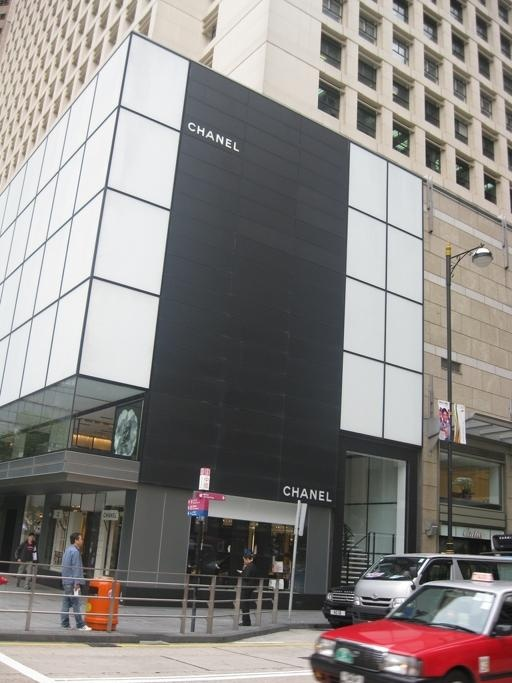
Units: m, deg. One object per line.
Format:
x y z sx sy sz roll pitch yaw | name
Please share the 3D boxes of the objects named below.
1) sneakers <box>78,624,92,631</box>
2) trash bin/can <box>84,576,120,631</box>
-2.819 4.716 9.758 0.183 0.082 0.080 -1 23 40 | sneakers
-2.702 4.620 10.378 0.493 0.814 0.542 -9 -23 2 | trash bin/can
